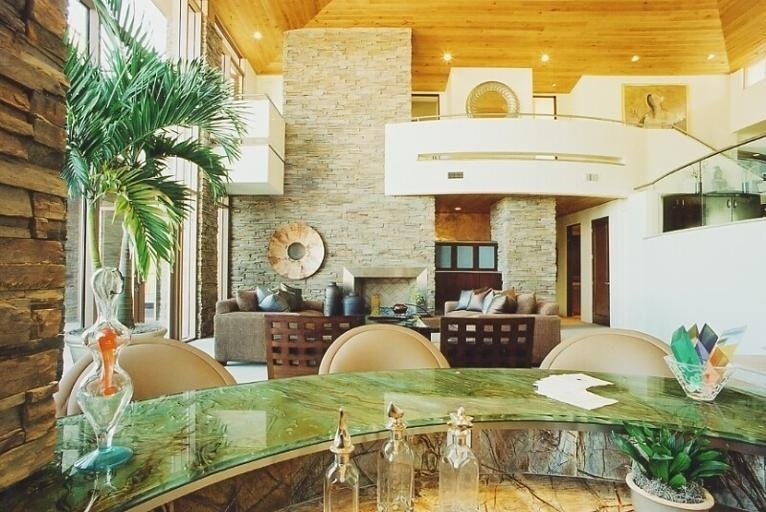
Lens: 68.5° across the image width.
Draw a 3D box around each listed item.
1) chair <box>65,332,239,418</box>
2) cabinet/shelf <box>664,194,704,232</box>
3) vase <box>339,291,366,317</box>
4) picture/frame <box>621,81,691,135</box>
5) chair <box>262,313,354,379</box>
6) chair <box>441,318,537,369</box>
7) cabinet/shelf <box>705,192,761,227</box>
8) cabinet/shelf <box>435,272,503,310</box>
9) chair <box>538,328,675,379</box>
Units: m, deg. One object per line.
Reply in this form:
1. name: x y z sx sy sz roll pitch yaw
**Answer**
1. chair: -1.007 0.475 2.399 0.450 0.377 0.448 2 -12 -2
2. cabinet/shelf: 3.676 -0.553 6.945 0.369 0.499 0.483 0 -2 -17
3. vase: -0.455 0.709 8.435 0.437 0.454 0.431 1 -6 -8
4. picture/frame: 4.731 -2.596 9.908 1.359 0.980 0.051 0 -1 0
5. chair: -0.614 0.652 4.119 0.464 0.355 0.597 0 -11 -2
6. chair: 0.777 0.624 4.312 0.482 0.301 0.493 -1 -6 5
7. cabinet/shelf: 3.797 -0.553 6.170 0.328 0.474 0.505 2 -4 -8
8. cabinet/shelf: 1.523 0.665 10.092 1.063 0.719 0.570 -5 -21 36
9. chair: 1.031 0.434 2.624 0.567 0.136 0.248 1 -1 14
